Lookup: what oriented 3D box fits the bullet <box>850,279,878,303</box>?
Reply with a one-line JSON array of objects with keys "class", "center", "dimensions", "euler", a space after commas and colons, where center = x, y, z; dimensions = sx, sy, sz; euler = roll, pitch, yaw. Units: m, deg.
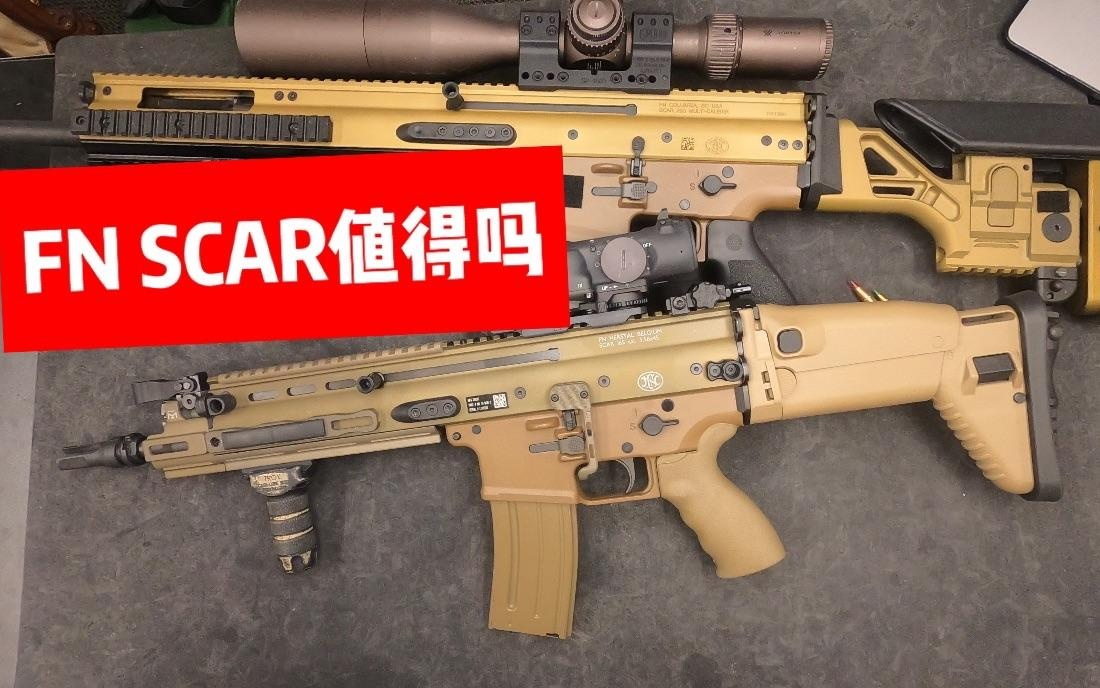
[{"class": "bullet", "center": [1.748, -0.290, 6.587], "dimensions": [0.032, 0.048, 0.136], "euler": [-34, 59, -7]}]

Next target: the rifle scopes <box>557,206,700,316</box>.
[{"class": "rifle scopes", "center": [0.440, -0.415, 6.470], "dimensions": [0.685, 0.274, 0.437], "euler": [-7, 92, -1]}]
